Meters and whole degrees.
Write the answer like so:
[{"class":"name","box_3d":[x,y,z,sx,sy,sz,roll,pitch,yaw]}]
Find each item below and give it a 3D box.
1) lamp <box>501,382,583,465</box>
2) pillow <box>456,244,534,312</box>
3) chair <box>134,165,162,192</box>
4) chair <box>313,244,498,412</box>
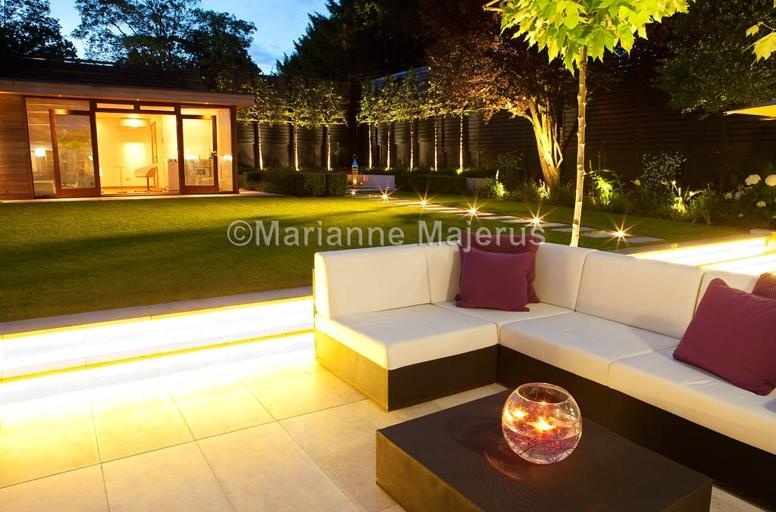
[{"class":"lamp","box_3d":[0.850,0.873,2.560,0.382,0.377,0.390,10,23,31]},{"class":"pillow","box_3d":[0.960,0.211,4.297,0.673,0.581,0.349,3,-1,13]},{"class":"chair","box_3d":[-9.496,-3.047,18.215,0.725,0.960,2.425,-6,14,-25]},{"class":"chair","box_3d":[0.063,0.537,4.077,1.288,1.139,1.336,-6,11,-28]}]
